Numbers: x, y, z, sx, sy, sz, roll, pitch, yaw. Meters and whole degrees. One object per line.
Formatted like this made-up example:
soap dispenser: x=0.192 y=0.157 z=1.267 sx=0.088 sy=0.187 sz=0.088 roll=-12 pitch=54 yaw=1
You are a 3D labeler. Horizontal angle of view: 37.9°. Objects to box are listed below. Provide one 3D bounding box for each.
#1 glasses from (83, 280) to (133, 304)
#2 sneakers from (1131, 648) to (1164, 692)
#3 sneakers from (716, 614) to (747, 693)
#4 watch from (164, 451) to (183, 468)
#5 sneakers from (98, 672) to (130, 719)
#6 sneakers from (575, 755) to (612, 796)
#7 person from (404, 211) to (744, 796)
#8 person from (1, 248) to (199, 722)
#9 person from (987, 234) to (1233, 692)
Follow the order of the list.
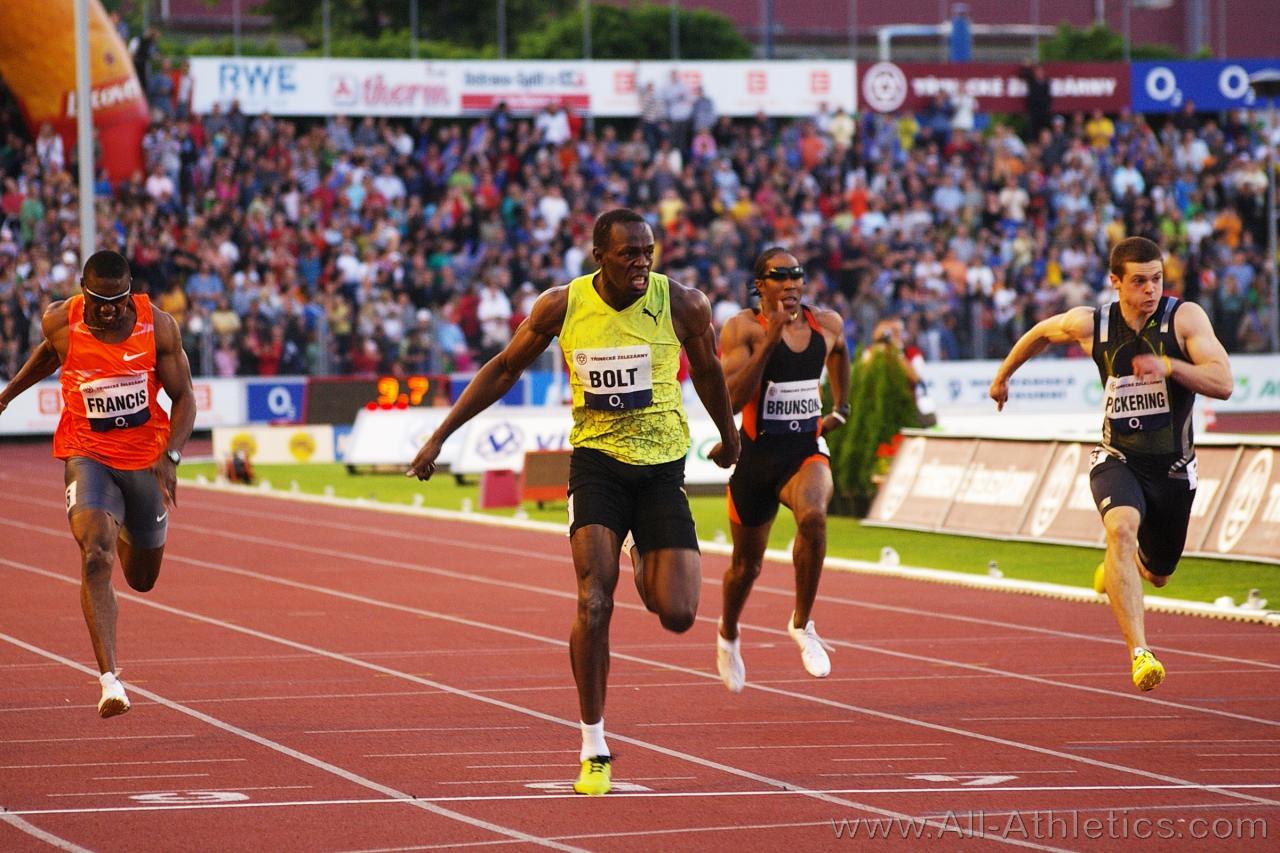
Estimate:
glasses: x=-3.255 y=-0.811 z=11.362 sx=0.287 sy=0.115 sz=0.209 roll=-3 pitch=7 yaw=-17
sneakers: x=3.011 y=1.458 z=11.079 sx=0.149 sy=0.270 sz=0.256 roll=0 pitch=7 yaw=12
sneakers: x=0.569 y=1.428 z=11.732 sx=0.159 sy=0.447 sz=0.183 roll=-7 pitch=-6 yaw=-5
watch: x=-2.830 y=0.203 z=11.268 sx=0.090 sy=0.060 sz=0.104 roll=13 pitch=23 yaw=-47
sneakers: x=-3.106 y=1.616 z=11.002 sx=0.153 sy=0.189 sz=0.408 roll=-7 pitch=-19 yaw=-20
sneakers: x=-0.261 y=1.882 z=10.218 sx=0.215 sy=0.199 sz=0.327 roll=-1 pitch=7 yaw=-2
person: x=-0.196 y=0.372 z=10.412 sx=1.535 sy=3.139 sz=1.032 roll=-1 pitch=6 yaw=-1
person: x=-3.137 y=0.163 z=11.374 sx=0.827 sy=2.446 sz=1.024 roll=-3 pitch=7 yaw=-20
person: x=3.163 y=0.239 z=11.556 sx=0.975 sy=2.792 sz=1.432 roll=-2 pitch=6 yaw=-4
